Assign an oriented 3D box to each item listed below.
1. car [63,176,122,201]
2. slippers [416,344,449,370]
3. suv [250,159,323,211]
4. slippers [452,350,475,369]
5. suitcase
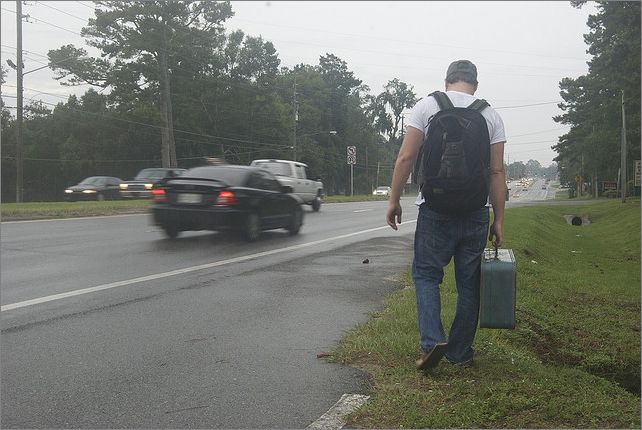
[{"bbox_3d":[-12.330,-1.382,29.619,1.514,0.914,2.859,0,1,15],"label":"car"},{"bbox_3d":[1.028,1.311,4.874,0.141,0.380,0.166,30,32,-20],"label":"slippers"},{"bbox_3d":[-1.362,-1.445,24.870,2.007,1.607,3.620,2,4,28],"label":"suv"},{"bbox_3d":[1.371,1.408,5.074,0.186,0.142,0.130,3,-1,5],"label":"slippers"},{"bbox_3d":[1.777,0.680,5.272,0.383,0.768,0.771,0,9,16],"label":"suitcase"}]
